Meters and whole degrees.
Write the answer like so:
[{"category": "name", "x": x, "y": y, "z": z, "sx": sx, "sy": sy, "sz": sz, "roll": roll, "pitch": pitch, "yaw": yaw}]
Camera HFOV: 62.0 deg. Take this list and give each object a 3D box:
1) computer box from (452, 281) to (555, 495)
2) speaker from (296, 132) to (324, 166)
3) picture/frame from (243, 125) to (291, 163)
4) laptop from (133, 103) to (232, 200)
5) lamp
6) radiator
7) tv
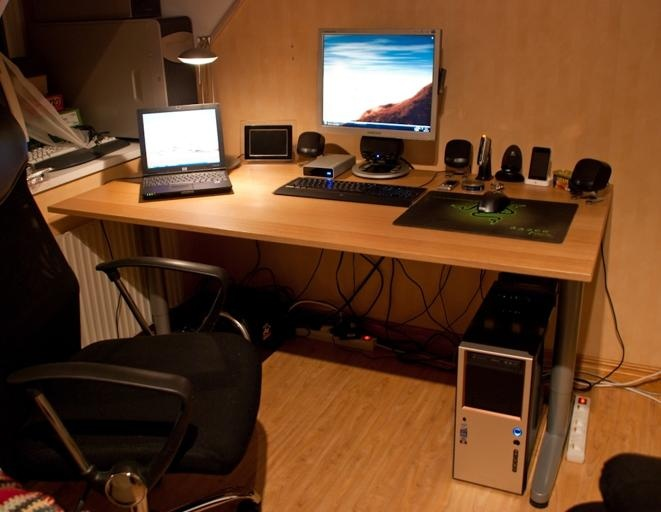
[{"category": "computer box", "x": 0.658, "y": 0.493, "z": 2.112, "sx": 0.283, "sy": 0.630, "sz": 0.477, "roll": 9, "pitch": 24, "yaw": 24}, {"category": "speaker", "x": -0.091, "y": -0.520, "z": 2.685, "sx": 0.115, "sy": 0.151, "sz": 0.160, "roll": 7, "pitch": 14, "yaw": -4}, {"category": "picture/frame", "x": -0.309, "y": -0.558, "z": 2.681, "sx": 0.264, "sy": 0.200, "sz": 0.153, "roll": 2, "pitch": 13, "yaw": 9}, {"category": "laptop", "x": -0.659, "y": -0.451, "z": 2.454, "sx": 0.414, "sy": 0.337, "sz": 0.446, "roll": -7, "pitch": 36, "yaw": -11}, {"category": "lamp", "x": -0.599, "y": -0.668, "z": 2.715, "sx": 0.229, "sy": 0.794, "sz": 0.334, "roll": 0, "pitch": 16, "yaw": 5}, {"category": "radiator", "x": -0.952, "y": 0.167, "z": 2.585, "sx": 0.348, "sy": 0.574, "sz": 0.476, "roll": 13, "pitch": 22, "yaw": 27}, {"category": "tv", "x": 0.207, "y": -0.648, "z": 2.415, "sx": 0.578, "sy": 0.635, "sz": 0.100, "roll": 17, "pitch": 25, "yaw": 37}]
